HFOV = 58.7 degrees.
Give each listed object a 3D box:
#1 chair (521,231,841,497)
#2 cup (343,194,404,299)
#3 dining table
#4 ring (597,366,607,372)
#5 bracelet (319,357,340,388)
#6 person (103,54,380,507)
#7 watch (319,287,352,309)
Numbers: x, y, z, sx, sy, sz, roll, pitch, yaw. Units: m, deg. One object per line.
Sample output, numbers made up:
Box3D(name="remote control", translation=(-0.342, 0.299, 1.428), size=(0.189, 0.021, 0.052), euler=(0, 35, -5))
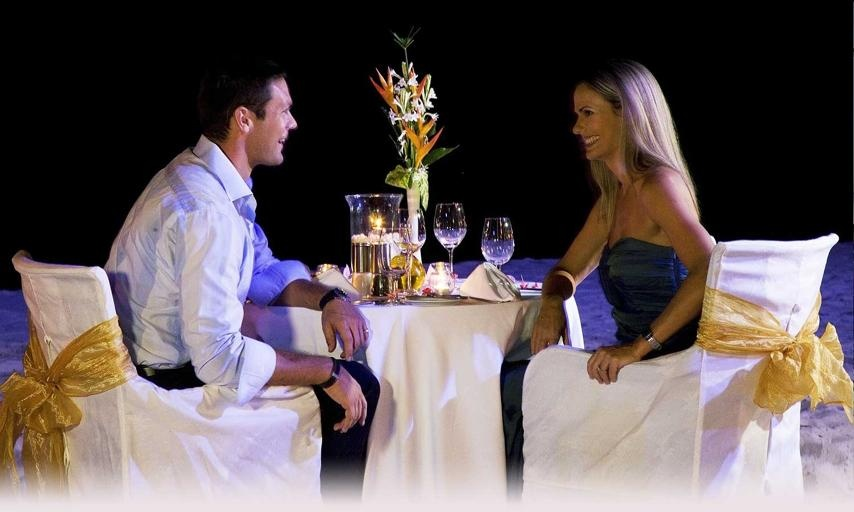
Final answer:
Box3D(name="chair", translation=(1.266, 0.491, 3.707), size=(1.295, 1.265, 1.009), euler=(1, 0, 29))
Box3D(name="cup", translation=(-0.253, -0.041, 3.736), size=(0.299, 0.484, 0.283), euler=(0, -1, 0))
Box3D(name="dining table", translation=(-0.100, 0.604, 3.471), size=(0.990, 0.730, 1.020), euler=(3, 4, 38))
Box3D(name="ring", translation=(0.747, 0.482, 3.232), size=(0.025, 0.026, 0.028), euler=(1, 6, 0))
Box3D(name="bracelet", translation=(-0.389, 0.490, 3.170), size=(0.110, 0.109, 0.045), euler=(2, -15, 46))
Box3D(name="person", translation=(-0.911, 0.254, 3.595), size=(1.339, 2.150, 1.086), euler=(4, 17, -14))
Box3D(name="watch", translation=(-0.404, 0.210, 3.356), size=(0.101, 0.038, 0.101), euler=(-32, 15, 5))
